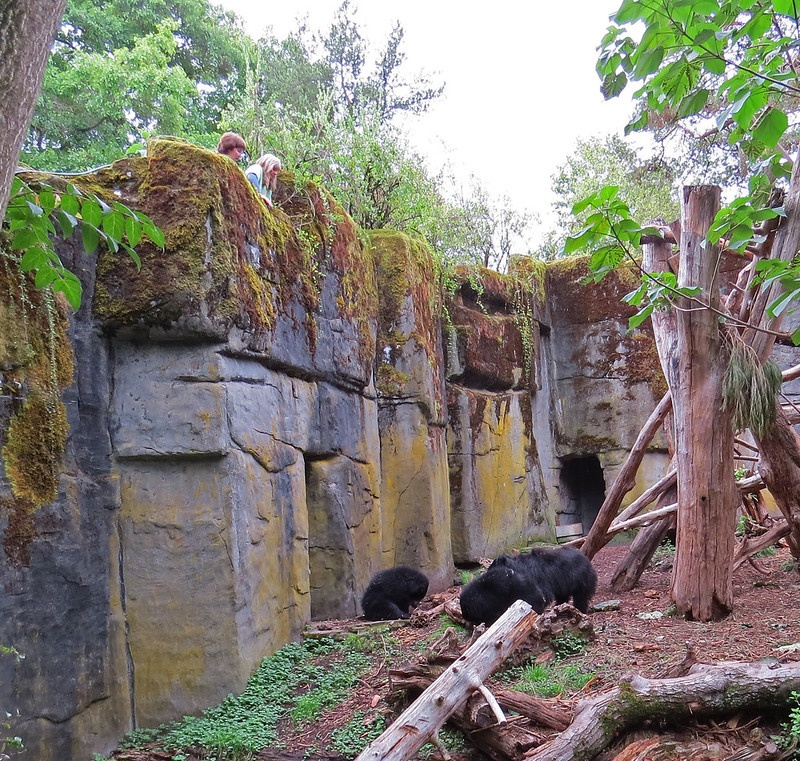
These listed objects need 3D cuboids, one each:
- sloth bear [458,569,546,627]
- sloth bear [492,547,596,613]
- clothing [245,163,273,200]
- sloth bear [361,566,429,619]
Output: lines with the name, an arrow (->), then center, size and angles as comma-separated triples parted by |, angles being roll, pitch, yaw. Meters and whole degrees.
sloth bear -> 0.812, 1.705, 8.384 | 0.581, 0.503, 0.417 | -2, -1, -4
sloth bear -> 1.290, 1.685, 8.796 | 0.944, 0.669, 0.440 | 1, -13, -9
clothing -> -1.250, -1.735, 9.055 | 0.105, 0.326, 0.309 | -1, -27, 21
sloth bear -> -0.023, 1.898, 9.471 | 0.571, 0.527, 0.426 | 15, 17, 30
